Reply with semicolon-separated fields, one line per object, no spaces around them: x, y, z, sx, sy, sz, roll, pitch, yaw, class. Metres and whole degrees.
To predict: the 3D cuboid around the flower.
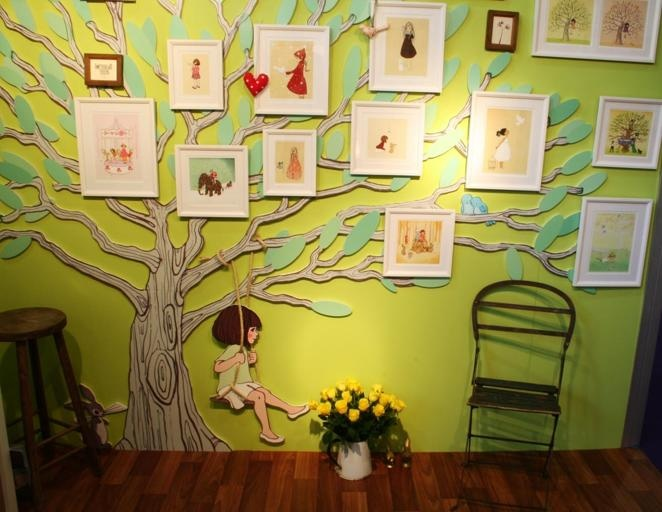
0.166;0.914;3.228;0.508;0.415;0.528;3;2;7;flower

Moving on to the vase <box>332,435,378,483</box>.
0.130;1.177;3.248;0.210;0.263;0.255;17;29;36;vase

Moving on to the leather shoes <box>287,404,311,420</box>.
-0.199;0.957;3.332;0.131;0.082;0.028;-25;-5;2;leather shoes
